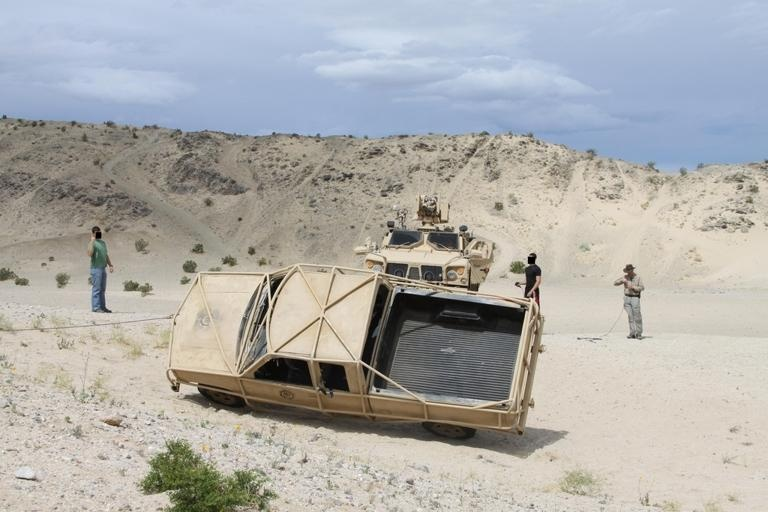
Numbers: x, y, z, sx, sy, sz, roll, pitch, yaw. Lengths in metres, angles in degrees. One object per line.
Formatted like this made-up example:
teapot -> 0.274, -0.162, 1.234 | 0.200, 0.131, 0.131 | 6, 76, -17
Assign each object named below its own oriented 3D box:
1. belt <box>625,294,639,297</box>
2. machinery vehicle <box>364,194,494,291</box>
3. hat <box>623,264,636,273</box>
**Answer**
belt -> 8.100, 1.288, 23.291 | 0.435, 0.103, 0.212 | 4, 0, 37
machinery vehicle -> 1.751, -0.526, 26.428 | 5.011, 2.965, 5.571 | 5, 19, 10
hat -> 9.772, 0.502, 28.279 | 0.586, 0.203, 0.595 | -6, 9, 17
